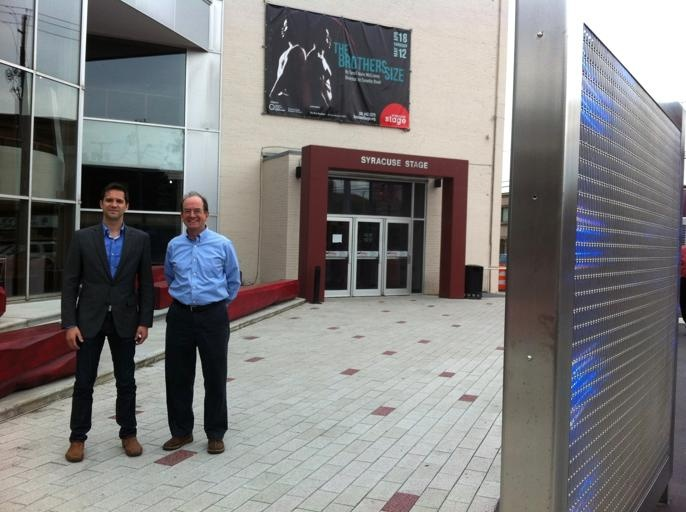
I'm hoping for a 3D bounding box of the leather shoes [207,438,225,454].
[{"bbox_3d":[-1.151,1.694,4.379,0.153,0.112,0.119,0,2,-14],"label":"leather shoes"}]

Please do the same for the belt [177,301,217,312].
[{"bbox_3d":[-1.351,0.453,4.391,0.407,0.086,0.085,1,2,6],"label":"belt"}]

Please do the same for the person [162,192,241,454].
[{"bbox_3d":[-1.316,0.743,4.449,0.677,2.006,0.361,1,2,-7],"label":"person"}]

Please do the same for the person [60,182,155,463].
[{"bbox_3d":[-2.059,0.551,4.274,0.730,2.372,0.335,0,2,-23],"label":"person"}]

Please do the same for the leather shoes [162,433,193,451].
[{"bbox_3d":[-1.534,1.707,4.504,0.091,0.115,0.250,-3,-10,36],"label":"leather shoes"}]

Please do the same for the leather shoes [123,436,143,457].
[{"bbox_3d":[-1.869,1.673,4.311,0.094,0.099,0.243,-1,-4,-31],"label":"leather shoes"}]
